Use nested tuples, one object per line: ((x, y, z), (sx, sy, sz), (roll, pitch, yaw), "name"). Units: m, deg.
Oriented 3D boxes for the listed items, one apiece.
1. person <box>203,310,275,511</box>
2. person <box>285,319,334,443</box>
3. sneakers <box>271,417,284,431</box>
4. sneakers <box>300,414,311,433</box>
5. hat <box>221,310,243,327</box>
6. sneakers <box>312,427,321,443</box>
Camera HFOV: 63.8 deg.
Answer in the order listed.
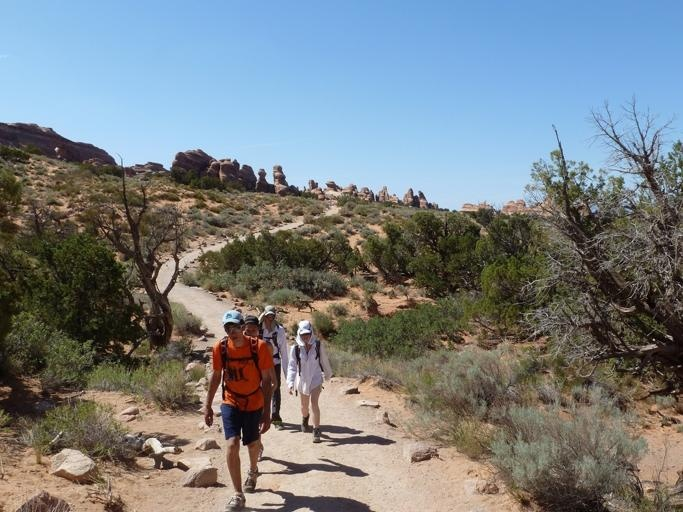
((-1.666, 2.514, 9.172), (1.104, 3.255, 0.669), (-1, -2, -9), "person")
((-0.650, 2.484, 11.096), (0.858, 2.398, 0.551), (-2, -2, -5), "person")
((-1.354, 3.512, 11.590), (0.185, 0.263, 0.561), (2, -18, -9), "sneakers")
((-0.749, 3.451, 11.352), (0.123, 0.414, 0.258), (0, -14, -8), "sneakers")
((-1.806, 1.012, 9.222), (0.278, 0.239, 0.508), (-2, -3, 0), "hat")
((-0.483, 3.539, 11.066), (0.145, 0.277, 0.337), (-2, -3, -2), "sneakers")
